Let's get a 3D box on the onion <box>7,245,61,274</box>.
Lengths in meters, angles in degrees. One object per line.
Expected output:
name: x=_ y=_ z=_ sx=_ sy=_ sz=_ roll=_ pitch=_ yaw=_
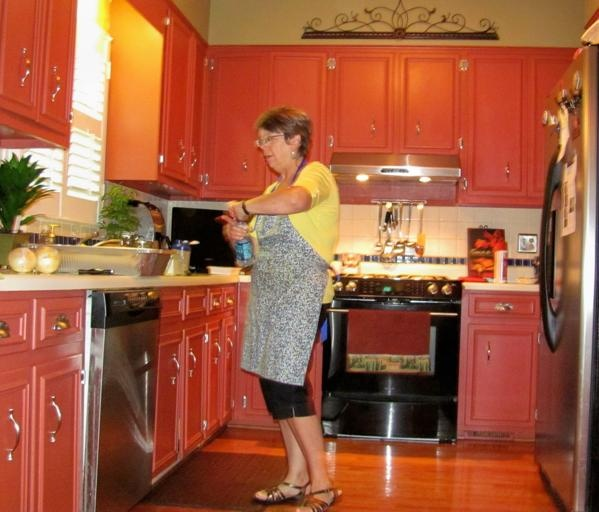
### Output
onion: x=-0.866 y=0.002 z=1.697 sx=0.174 sy=0.079 sz=0.222 roll=3 pitch=6 yaw=-1

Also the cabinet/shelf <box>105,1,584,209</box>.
cabinet/shelf: x=0.324 y=-0.972 z=3.277 sx=3.439 sy=1.475 sz=0.891 roll=3 pitch=3 yaw=5

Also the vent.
vent: x=0.643 y=-0.632 z=3.487 sx=0.867 sy=0.195 sz=0.161 roll=2 pitch=-4 yaw=4

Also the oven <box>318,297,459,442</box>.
oven: x=0.597 y=0.645 z=3.454 sx=0.813 sy=0.838 sz=0.707 roll=1 pitch=3 yaw=6

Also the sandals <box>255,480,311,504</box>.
sandals: x=-0.070 y=0.966 z=2.137 sx=0.224 sy=0.084 sz=0.090 roll=2 pitch=-5 yaw=-11
